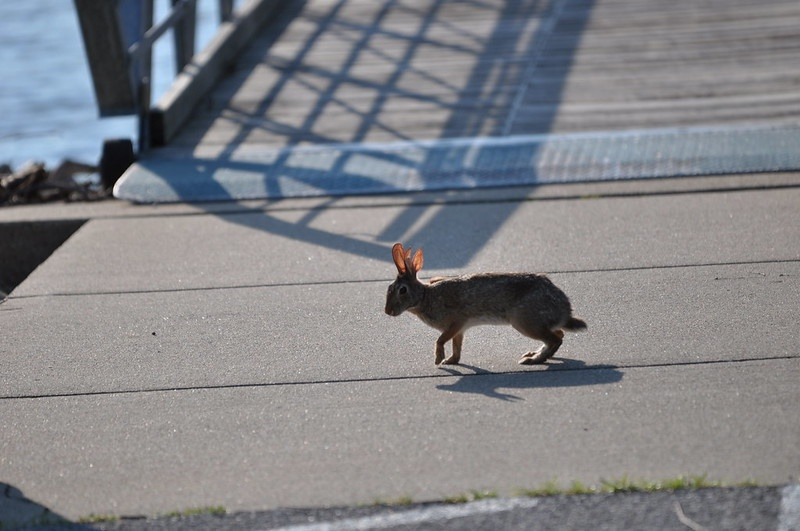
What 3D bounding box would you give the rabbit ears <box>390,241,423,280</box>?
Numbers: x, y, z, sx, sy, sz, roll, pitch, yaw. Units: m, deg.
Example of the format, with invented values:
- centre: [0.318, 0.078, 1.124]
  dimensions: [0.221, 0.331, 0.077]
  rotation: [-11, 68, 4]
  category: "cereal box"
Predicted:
- centre: [0.055, -0.060, 7.611]
  dimensions: [0.174, 0.288, 0.249]
  rotation: [8, 38, 5]
  category: "rabbit ears"
